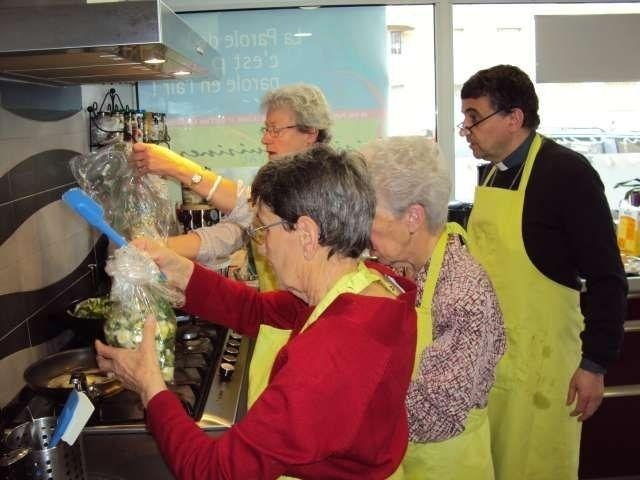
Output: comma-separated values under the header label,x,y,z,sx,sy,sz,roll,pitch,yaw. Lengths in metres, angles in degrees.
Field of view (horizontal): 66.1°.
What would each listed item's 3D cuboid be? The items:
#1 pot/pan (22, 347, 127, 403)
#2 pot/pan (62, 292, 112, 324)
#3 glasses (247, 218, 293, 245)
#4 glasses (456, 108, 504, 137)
label,x,y,z,sx,sy,sz,roll,pitch,yaw
pot/pan,-0.789,0.435,1.590,0.308,0.106,0.199,2,3,24
pot/pan,-0.897,0.259,1.904,0.198,0.098,0.202,-1,2,-28
glasses,-0.118,-0.019,1.158,0.066,0.023,0.067,-33,3,-9
glasses,0.678,-0.501,2.065,0.119,0.039,0.118,-29,-4,3
